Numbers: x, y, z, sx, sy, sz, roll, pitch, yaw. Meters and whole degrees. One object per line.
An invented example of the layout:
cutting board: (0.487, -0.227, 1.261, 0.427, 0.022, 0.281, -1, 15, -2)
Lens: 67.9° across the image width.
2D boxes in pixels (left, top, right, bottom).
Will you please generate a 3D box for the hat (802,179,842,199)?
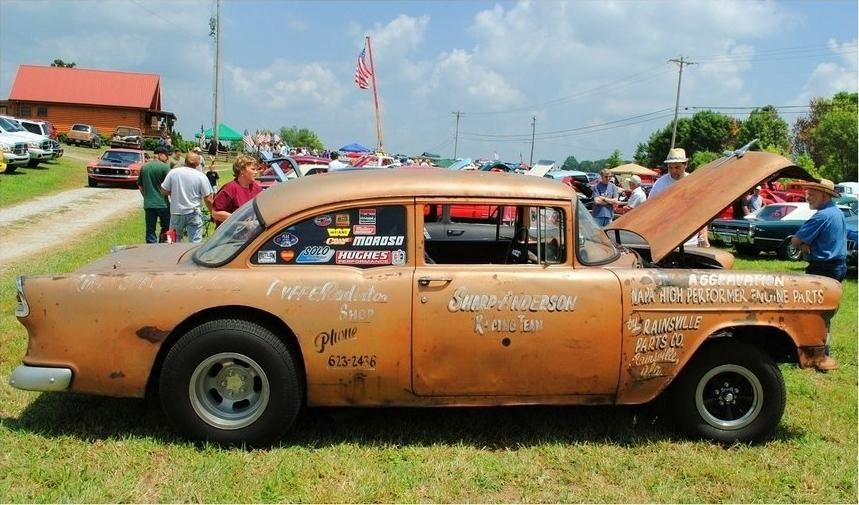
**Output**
hat: (5.249, -0.888, 8.502, 0.355, 0.097, 0.348, 20, 1, 16)

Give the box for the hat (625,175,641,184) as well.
hat: (4.851, -1.692, 14.905, 0.393, 0.163, 0.536, 5, 9, 3)
